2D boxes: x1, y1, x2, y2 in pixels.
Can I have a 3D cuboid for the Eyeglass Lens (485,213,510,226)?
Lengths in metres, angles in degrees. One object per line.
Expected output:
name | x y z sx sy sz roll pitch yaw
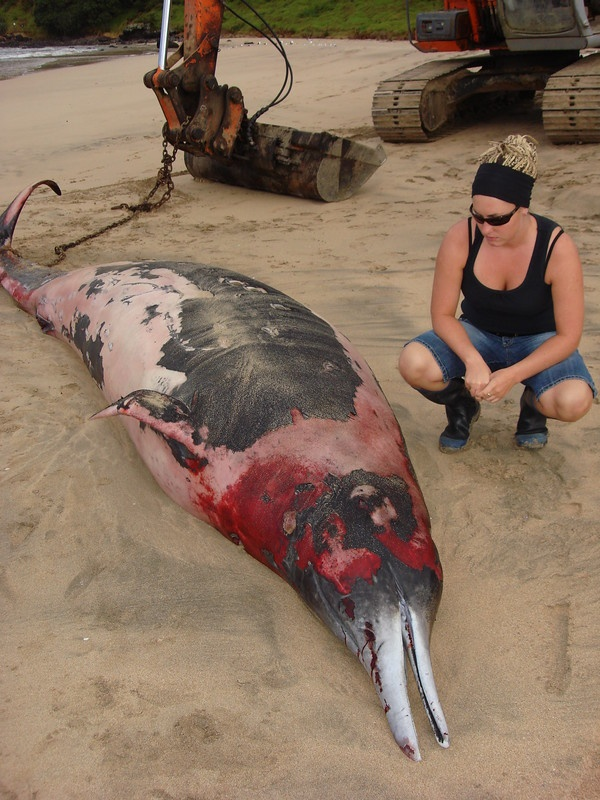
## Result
Eyeglass Lens | 0.614 -0.550 2.592 0.073 0.043 0.015 0 34 10

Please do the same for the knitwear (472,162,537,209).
knitwear | 0.620 -0.667 2.563 0.171 0.095 0.166 22 14 12

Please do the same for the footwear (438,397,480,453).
footwear | 0.587 0.093 3.093 0.080 0.062 0.236 32 16 15

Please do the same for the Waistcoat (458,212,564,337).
Waistcoat | 0.706 -0.418 2.795 0.348 0.402 0.241 28 65 36
